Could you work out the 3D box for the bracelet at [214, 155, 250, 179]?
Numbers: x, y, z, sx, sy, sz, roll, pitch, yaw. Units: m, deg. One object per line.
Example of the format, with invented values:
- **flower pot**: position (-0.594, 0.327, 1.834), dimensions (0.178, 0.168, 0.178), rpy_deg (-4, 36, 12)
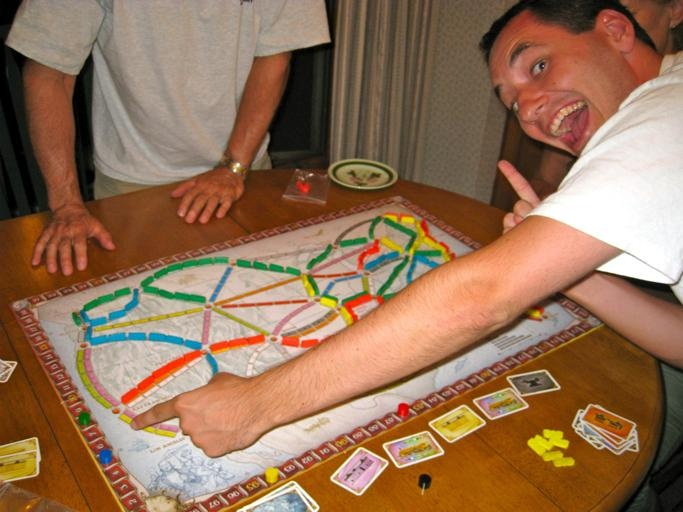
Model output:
- **bracelet**: position (-0.480, -0.383, 2.111), dimensions (0.100, 0.072, 0.111), rpy_deg (32, 10, 5)
